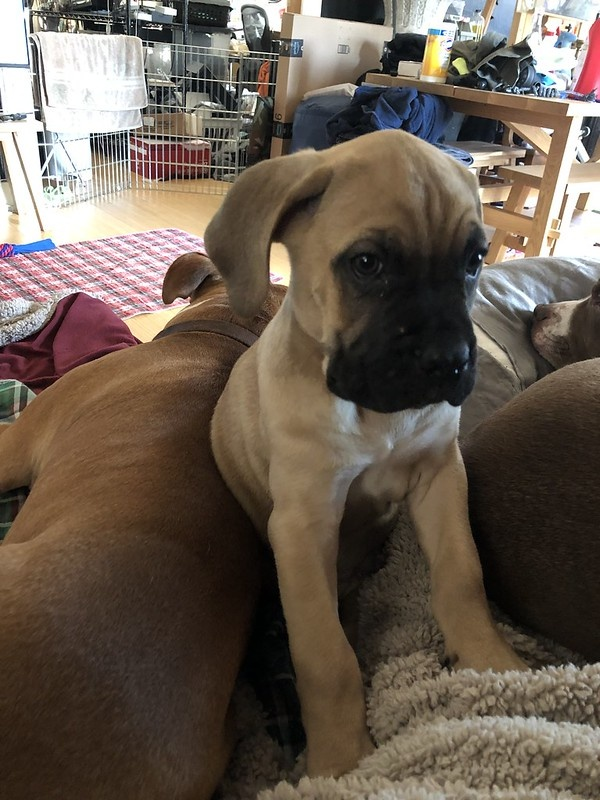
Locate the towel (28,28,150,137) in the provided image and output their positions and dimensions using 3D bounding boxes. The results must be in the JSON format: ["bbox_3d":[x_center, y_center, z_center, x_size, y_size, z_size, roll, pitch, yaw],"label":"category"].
[{"bbox_3d":[-1.129,-1.648,3.115,0.125,0.466,0.693,19,33,27],"label":"towel"}]

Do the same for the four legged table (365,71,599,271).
[{"bbox_3d":[0.776,-0.935,2.616,0.941,0.818,0.870,13,46,2],"label":"four legged table"}]
